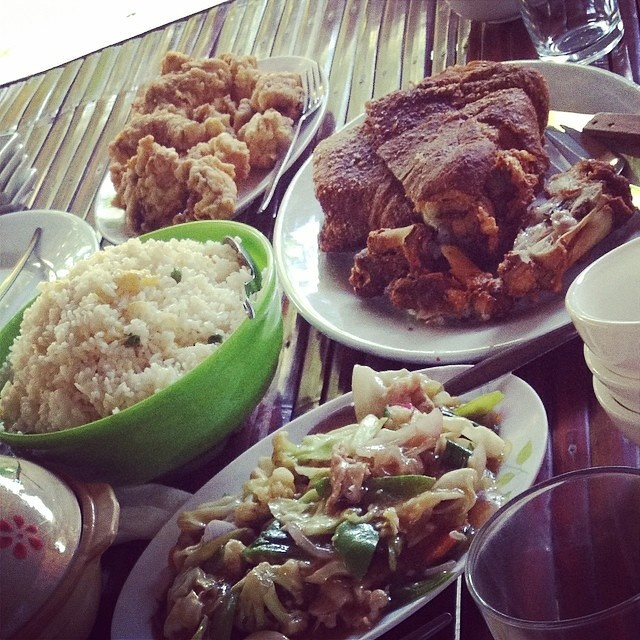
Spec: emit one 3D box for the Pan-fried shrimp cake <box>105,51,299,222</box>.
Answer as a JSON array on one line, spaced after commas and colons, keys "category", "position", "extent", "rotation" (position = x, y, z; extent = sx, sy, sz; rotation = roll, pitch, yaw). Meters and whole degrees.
[{"category": "Pan-fried shrimp cake", "position": [-0.293, -0.433, 1.630], "extent": [0.478, 0.195, 0.637], "rotation": [2, 45, 14]}]
